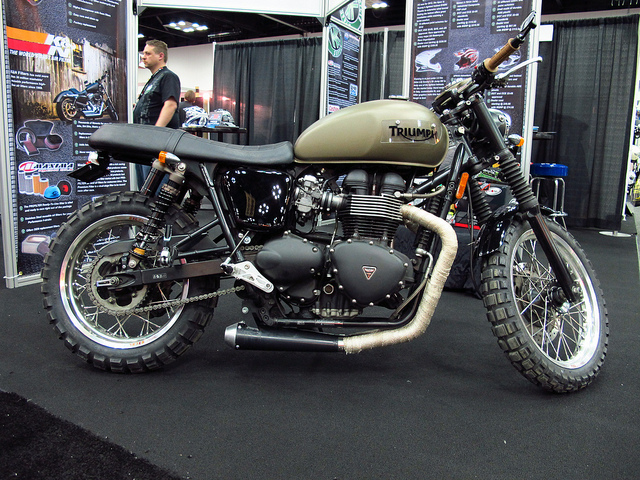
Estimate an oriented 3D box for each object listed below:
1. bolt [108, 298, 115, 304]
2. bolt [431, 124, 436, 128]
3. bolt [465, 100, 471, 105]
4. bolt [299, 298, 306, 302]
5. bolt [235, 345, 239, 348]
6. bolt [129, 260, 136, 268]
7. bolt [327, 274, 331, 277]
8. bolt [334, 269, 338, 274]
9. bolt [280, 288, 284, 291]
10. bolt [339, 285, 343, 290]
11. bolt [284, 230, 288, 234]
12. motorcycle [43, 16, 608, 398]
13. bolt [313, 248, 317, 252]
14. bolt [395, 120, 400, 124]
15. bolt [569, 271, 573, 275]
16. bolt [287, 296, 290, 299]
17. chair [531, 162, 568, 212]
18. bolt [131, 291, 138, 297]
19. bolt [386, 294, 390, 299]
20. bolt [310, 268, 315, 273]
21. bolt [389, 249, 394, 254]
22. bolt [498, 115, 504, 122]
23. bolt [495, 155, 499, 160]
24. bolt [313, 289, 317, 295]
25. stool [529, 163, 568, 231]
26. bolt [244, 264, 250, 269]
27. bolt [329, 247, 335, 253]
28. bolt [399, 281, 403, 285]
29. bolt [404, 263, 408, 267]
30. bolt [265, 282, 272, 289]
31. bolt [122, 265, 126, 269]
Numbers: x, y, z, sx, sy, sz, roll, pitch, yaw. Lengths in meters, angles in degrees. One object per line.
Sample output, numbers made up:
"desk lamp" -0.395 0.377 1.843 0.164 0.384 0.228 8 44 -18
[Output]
"bolt" -1.061 0.305 2.264 0.021 0.015 0.023 -2 -6 39
"bolt" 0.554 -0.549 2.147 0.020 0.022 0.005 2 3 2
"bolt" 0.756 -0.691 2.243 0.026 0.027 0.006 2 -1 5
"bolt" -0.082 0.298 2.216 0.033 0.029 0.014 1 15 3
"bolt" -0.414 0.533 2.240 0.015 0.015 0.004 -3 6 -1
"bolt" -0.941 0.117 2.233 0.031 0.032 0.007 9 -3 -5
"bolt" 0.048 0.173 2.196 0.016 0.011 0.009 0 -10 5
"bolt" 0.082 0.148 2.143 0.015 0.011 0.015 6 8 41
"bolt" -0.185 0.243 2.209 0.019 0.015 0.003 1 15 4
"bolt" 0.105 0.226 2.156 0.020 0.020 0.005 10 0 19
"bolt" -0.168 -0.040 2.228 0.004 0.016 0.016 20 -26 -40
"motorcycle" 0.086 -0.075 2.355 3.069 1.769 0.972 1 -2 0
"bolt" -0.019 0.047 2.158 0.019 0.016 0.011 -4 16 -17
"bolt" 0.376 -0.561 2.119 0.020 0.020 0.005 0 -3 1
"bolt" 1.345 0.172 2.365 0.026 0.025 0.006 2 4 -11
"bolt" -0.155 0.283 2.233 0.013 0.013 0.003 -6 10 13
"chair" 2.971 -0.605 5.726 0.484 0.691 0.483 -3 7 14
"bolt" -0.951 0.272 2.270 0.030 0.031 0.008 3 -5 -9
"bolt" 0.343 0.276 2.179 0.018 0.018 0.004 5 41 -6
"bolt" -0.032 0.147 2.158 0.017 0.015 0.017 -5 19 -34
"bolt" 0.354 0.056 2.149 0.017 0.018 0.031 11 18 35
"bolt" 0.940 -0.625 2.284 0.027 0.027 0.006 -27 -12 -30
"bolt" 0.903 -0.415 2.244 0.024 0.024 0.008 -1 6 3
"bolt" -0.021 0.256 2.197 0.028 0.029 0.007 -1 2 2
"stool" 2.967 -0.564 5.685 0.592 0.694 0.625 2 7 26
"bolt" -0.356 0.126 2.178 0.023 0.023 0.008 -2 -2 -7
"bolt" 0.063 0.047 2.150 0.022 0.017 0.017 -12 31 4
"bolt" 0.400 0.206 2.157 0.019 0.018 0.002 -7 16 -24
"bolt" 0.422 0.119 2.145 0.022 0.019 0.005 -11 18 -35
"bolt" -0.248 0.222 2.176 0.034 0.027 0.008 -1 15 -6
"bolt" -0.992 0.134 2.254 0.016 0.016 0.005 -2 -3 10
